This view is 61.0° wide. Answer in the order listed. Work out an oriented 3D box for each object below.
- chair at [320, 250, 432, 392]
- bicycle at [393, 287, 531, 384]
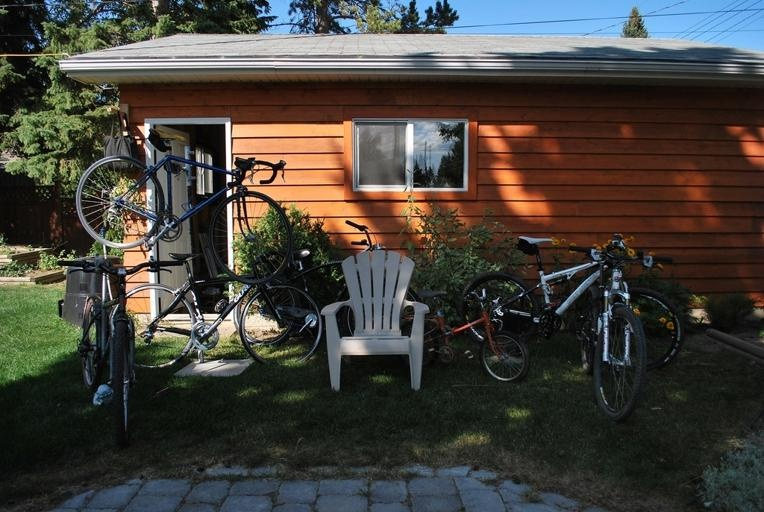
[{"bbox_3d":[-0.041,0.731,8.120,1.592,1.920,1.470,0,2,1],"label":"chair"},{"bbox_3d":[1.132,0.957,8.095,1.438,0.893,0.901,0,1,28],"label":"bicycle"}]
